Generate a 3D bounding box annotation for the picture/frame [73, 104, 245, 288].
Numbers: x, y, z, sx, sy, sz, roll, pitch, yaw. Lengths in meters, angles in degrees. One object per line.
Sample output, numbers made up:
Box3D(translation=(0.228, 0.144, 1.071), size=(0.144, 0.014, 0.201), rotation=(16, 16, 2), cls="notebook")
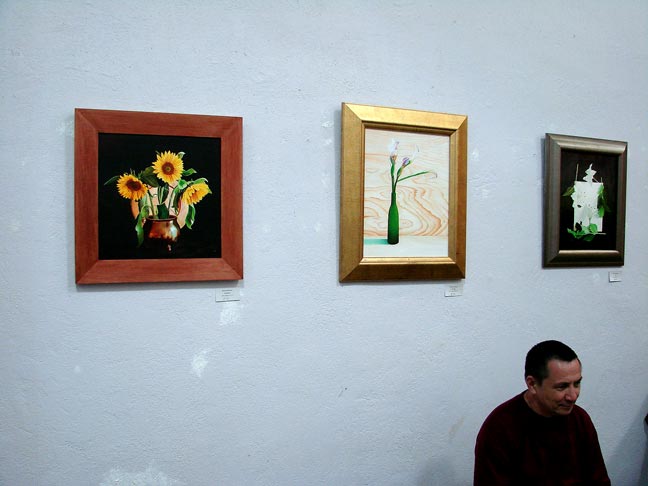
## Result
Box3D(translation=(-0.770, -0.218, 2.539), size=(0.882, 0.829, 0.033), rotation=(0, 0, -13), cls="picture/frame")
